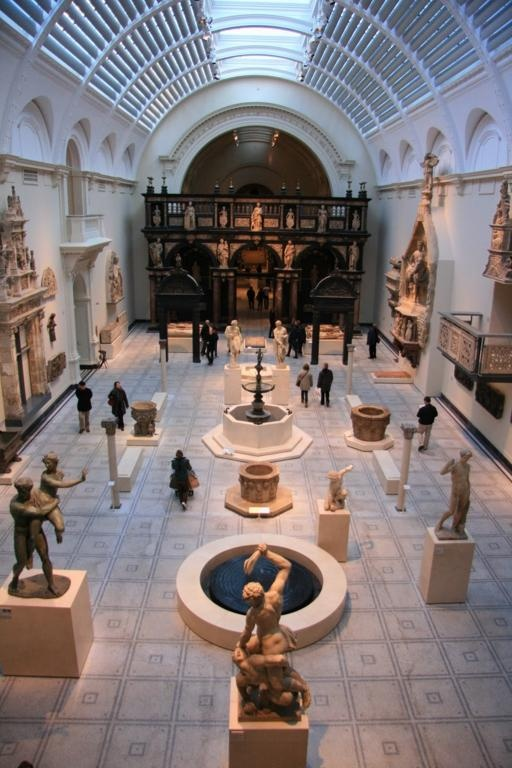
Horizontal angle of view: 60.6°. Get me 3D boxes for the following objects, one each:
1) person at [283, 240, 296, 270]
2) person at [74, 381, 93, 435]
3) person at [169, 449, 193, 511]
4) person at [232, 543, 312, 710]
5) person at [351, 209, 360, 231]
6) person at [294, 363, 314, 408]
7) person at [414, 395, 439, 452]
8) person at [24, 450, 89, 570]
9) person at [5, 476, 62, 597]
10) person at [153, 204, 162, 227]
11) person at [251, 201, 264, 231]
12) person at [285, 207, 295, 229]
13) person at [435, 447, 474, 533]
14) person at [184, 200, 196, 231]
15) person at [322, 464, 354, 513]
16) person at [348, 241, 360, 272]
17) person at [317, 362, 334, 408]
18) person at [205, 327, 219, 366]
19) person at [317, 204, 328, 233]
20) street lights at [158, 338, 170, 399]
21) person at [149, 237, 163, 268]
[{"bbox_3d":[1.667,-6.460,21.929,0.623,1.333,0.201,2,13,-9],"label":"person"},{"bbox_3d":[-4.506,0.512,11.498,0.330,1.552,1.362,-1,14,-22],"label":"person"},{"bbox_3d":[-1.411,1.743,8.330,0.416,1.160,0.570,3,13,-4],"label":"person"},{"bbox_3d":[0.092,1.697,3.029,0.476,1.063,0.440,-5,-5,8],"label":"person"},{"bbox_3d":[4.954,-8.092,21.733,0.474,0.922,0.155,3,13,-2],"label":"person"},{"bbox_3d":[1.504,-0.025,13.833,0.416,1.382,1.162,5,13,5],"label":"person"},{"bbox_3d":[4.164,0.966,10.811,0.392,1.462,0.727,9,14,22],"label":"person"},{"bbox_3d":[-2.077,1.315,4.661,0.633,1.162,0.402,0,-1,4],"label":"person"},{"bbox_3d":[-2.269,1.495,4.431,0.471,1.324,0.497,-2,14,-25],"label":"person"},{"bbox_3d":[-4.851,-8.229,21.500,0.436,0.993,0.190,1,13,-12],"label":"person"},{"bbox_3d":[0.070,-8.165,21.475,0.586,1.385,0.248,3,13,-5],"label":"person"},{"bbox_3d":[1.670,-8.128,21.572,0.466,0.952,0.151,5,13,4],"label":"person"},{"bbox_3d":[2.635,1.412,5.719,0.406,1.279,0.515,6,13,10],"label":"person"},{"bbox_3d":[-3.202,-8.175,21.382,0.520,1.320,0.242,-1,14,-20],"label":"person"},{"bbox_3d":[1.271,1.552,6.847,0.338,0.758,0.661,7,13,13],"label":"person"},{"bbox_3d":[4.860,-6.366,21.770,0.575,1.382,0.344,5,13,7],"label":"person"},{"bbox_3d":[2.130,-0.006,13.666,0.441,1.416,0.885,6,13,10],"label":"person"},{"bbox_3d":[-1.802,-1.560,17.782,0.462,1.464,0.885,3,13,-4],"label":"person"},{"bbox_3d":[3.266,-8.070,21.488,0.474,1.282,0.326,4,13,1],"label":"person"},{"bbox_3d":[-2.907,-0.557,13.788,0.345,1.664,0.341,-6,10,-41],"label":"street lights"},{"bbox_3d":[-4.944,-6.488,21.744,0.670,1.404,0.307,1,13,-11],"label":"person"}]
